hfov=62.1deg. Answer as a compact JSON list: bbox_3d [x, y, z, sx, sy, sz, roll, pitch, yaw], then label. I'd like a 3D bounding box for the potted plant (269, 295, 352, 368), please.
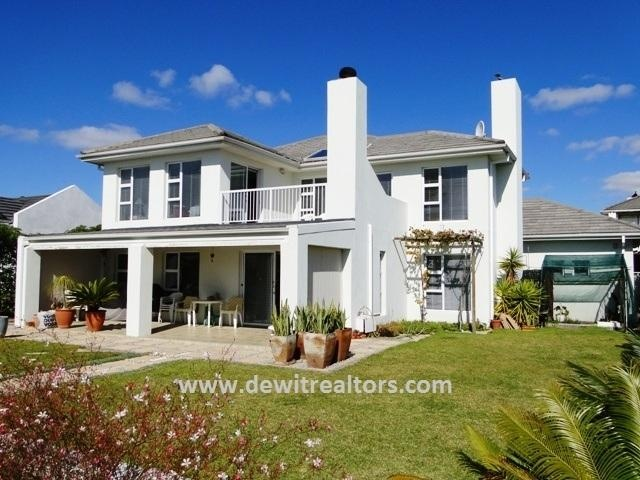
[{"bbox_3d":[-0.203,2.100,12.199,1.351,1.604,1.457,-3,-5,28],"label":"potted plant"}]

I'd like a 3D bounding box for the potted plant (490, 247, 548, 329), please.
[{"bbox_3d":[6.920,1.628,18.599,1.555,2.718,1.813,-3,-5,28],"label":"potted plant"}]

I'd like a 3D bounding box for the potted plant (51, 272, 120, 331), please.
[{"bbox_3d":[-8.048,2.129,18.073,1.899,1.744,3.756,1,-5,-28],"label":"potted plant"}]

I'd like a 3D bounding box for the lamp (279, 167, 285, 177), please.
[{"bbox_3d":[-1.448,-2.622,20.479,0.122,0.215,0.400,-3,-5,28],"label":"lamp"}]

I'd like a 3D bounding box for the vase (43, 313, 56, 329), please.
[{"bbox_3d":[-8.806,2.621,17.414,0.246,0.475,0.408,-5,-6,44],"label":"vase"}]
